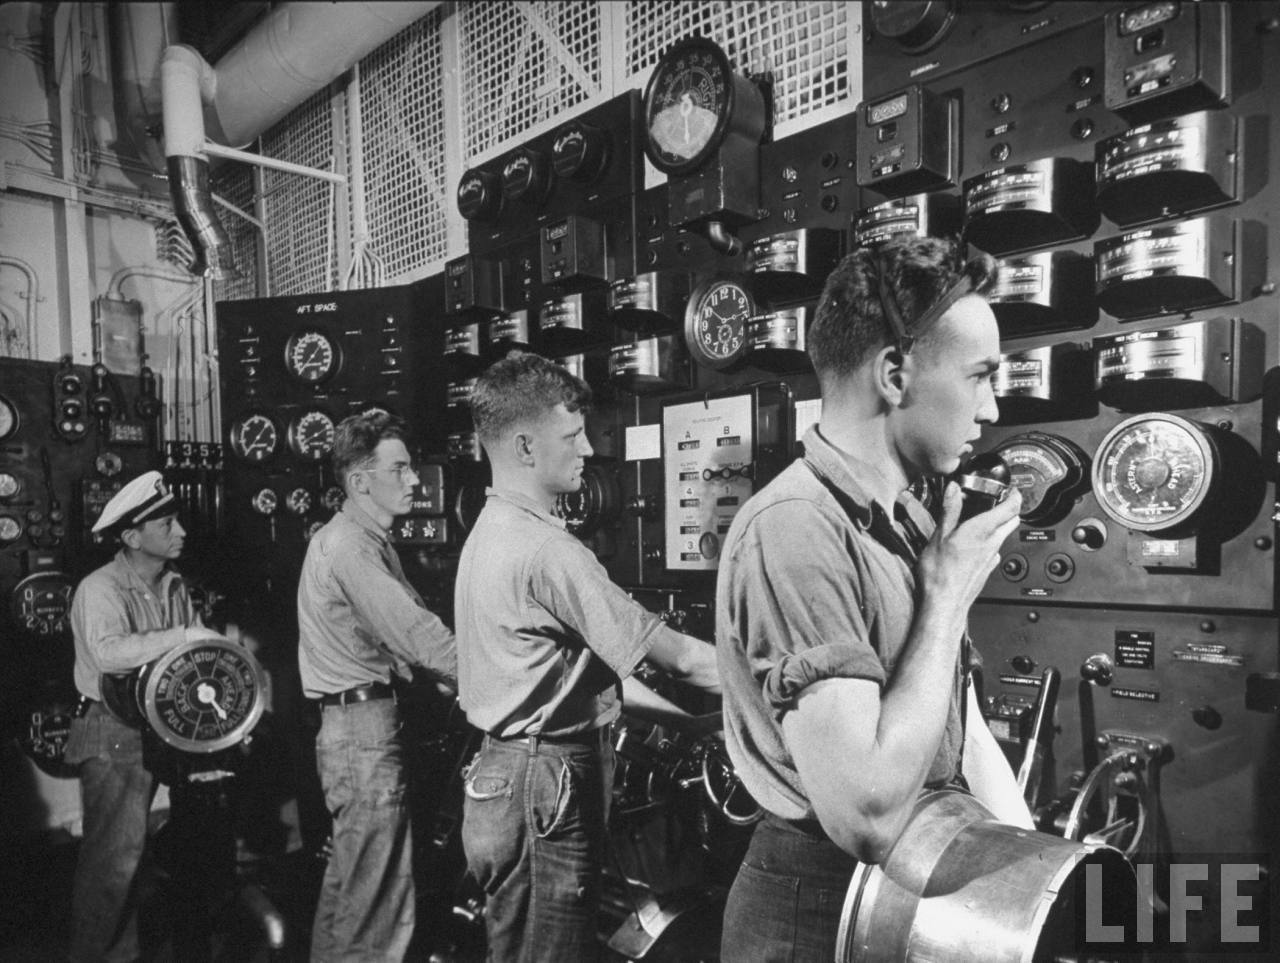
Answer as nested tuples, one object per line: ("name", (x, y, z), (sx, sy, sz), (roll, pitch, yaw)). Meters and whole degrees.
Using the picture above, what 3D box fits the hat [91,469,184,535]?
("hat", (-2.858, 0.208, 7.138), (0.390, 0.161, 0.317), (-32, 16, 2))

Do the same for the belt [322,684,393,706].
("belt", (-1.413, 1.064, 6.278), (0.368, 0.125, 0.122), (0, 3, 0))
